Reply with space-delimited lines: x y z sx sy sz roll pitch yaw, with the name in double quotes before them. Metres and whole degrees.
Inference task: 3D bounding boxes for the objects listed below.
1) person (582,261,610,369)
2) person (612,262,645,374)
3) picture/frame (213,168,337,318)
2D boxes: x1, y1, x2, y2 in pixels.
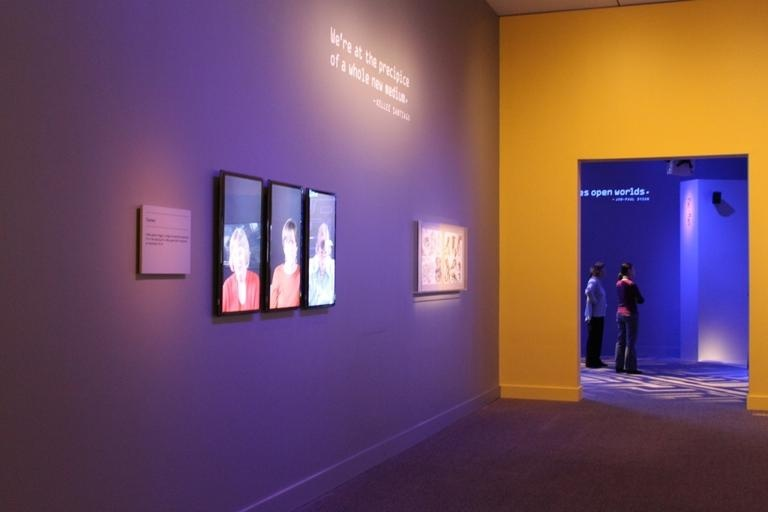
"person" 3.906 1.099 10.641 0.344 1.938 0.579 0 -2 20
"person" 4.435 1.089 10.463 0.429 1.922 1.189 0 -1 22
"picture/frame" -0.822 -0.096 4.192 0.053 0.807 1.095 -1 -2 29
